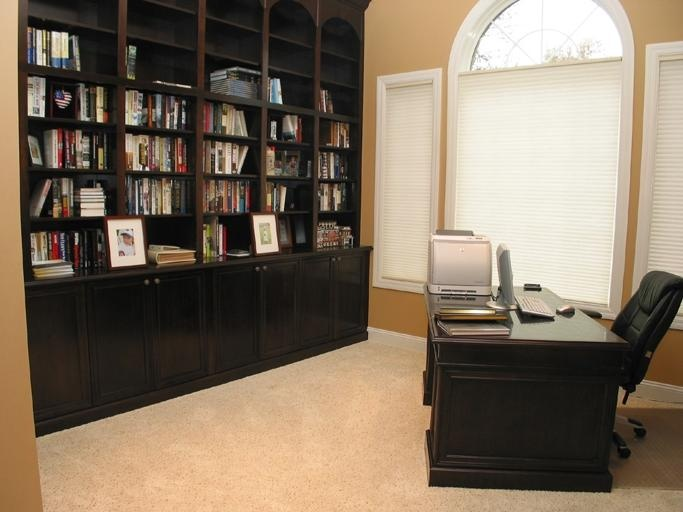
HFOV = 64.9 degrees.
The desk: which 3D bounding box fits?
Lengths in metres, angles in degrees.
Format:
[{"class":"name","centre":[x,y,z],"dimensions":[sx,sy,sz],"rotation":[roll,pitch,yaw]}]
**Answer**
[{"class":"desk","centre":[1.090,0.861,3.930],"dimensions":[1.113,0.839,1.708],"rotation":[2,6,1]}]

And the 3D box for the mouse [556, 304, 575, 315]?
[{"class":"mouse","centre":[1.521,0.359,3.644],"dimensions":[0.119,0.040,0.063],"rotation":[-6,12,-28]}]

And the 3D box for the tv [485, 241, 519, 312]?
[{"class":"tv","centre":[1.186,0.152,3.952],"dimensions":[0.227,0.432,0.445],"rotation":[-2,7,2]}]

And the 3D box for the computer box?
[{"class":"computer box","centre":[0.874,0.035,4.137],"dimensions":[0.471,0.469,0.486],"rotation":[0,7,-3]}]
